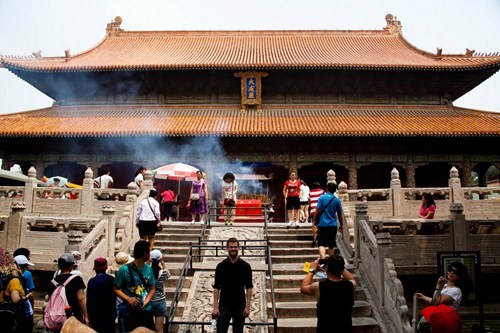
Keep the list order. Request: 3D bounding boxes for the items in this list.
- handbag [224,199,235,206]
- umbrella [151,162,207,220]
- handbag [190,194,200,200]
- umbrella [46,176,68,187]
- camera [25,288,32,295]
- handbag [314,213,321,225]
[{"bbox_3d":[-0.836,1.446,24.033,0.345,0.272,0.120,0,-31,0],"label":"handbag"},{"bbox_3d":[-3.168,1.122,27.072,3.209,1.725,2.887,1,-5,-1],"label":"umbrella"},{"bbox_3d":[-2.294,1.243,24.531,0.404,0.248,0.166,-5,-12,33],"label":"handbag"},{"bbox_3d":[-8.828,0.709,27.743,0.796,0.282,0.729,2,0,-4],"label":"umbrella"},{"bbox_3d":[-6.770,3.801,18.300,0.136,0.151,0.120,-1,31,-7],"label":"camera"},{"bbox_3d":[2.215,1.764,20.379,0.113,0.411,0.325,18,-1,27],"label":"handbag"}]
